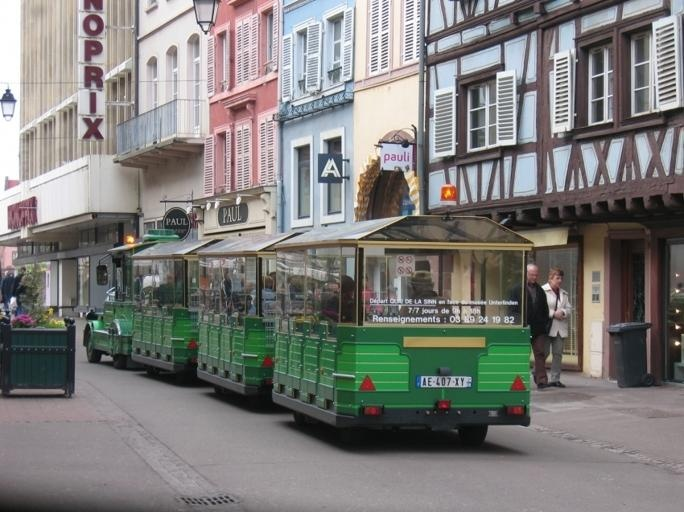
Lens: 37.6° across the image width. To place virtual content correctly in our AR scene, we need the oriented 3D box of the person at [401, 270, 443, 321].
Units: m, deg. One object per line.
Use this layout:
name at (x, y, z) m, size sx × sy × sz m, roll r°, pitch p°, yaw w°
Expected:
person at (0.969, 0.485, 13.152) m, size 0.569 × 0.944 × 0.472 m, roll 1°, pitch 4°, yaw -10°

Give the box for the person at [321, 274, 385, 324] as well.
person at (0.100, 0.803, 13.087) m, size 0.471 × 1.031 × 0.983 m, roll 2°, pitch -3°, yaw -15°

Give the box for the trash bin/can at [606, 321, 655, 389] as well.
trash bin/can at (5.325, 1.851, 18.614) m, size 0.747 × 1.164 × 0.649 m, roll 0°, pitch -4°, yaw -17°

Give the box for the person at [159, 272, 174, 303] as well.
person at (-3.518, 0.678, 20.119) m, size 0.160 × 0.645 × 0.952 m, roll 2°, pitch -5°, yaw -19°

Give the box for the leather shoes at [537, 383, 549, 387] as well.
leather shoes at (3.611, 2.352, 18.119) m, size 0.127 × 0.080 × 0.089 m, roll -4°, pitch -3°, yaw 7°

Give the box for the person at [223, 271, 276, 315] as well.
person at (-1.543, 0.615, 16.609) m, size 0.555 × 0.451 × 0.874 m, roll 1°, pitch 2°, yaw -21°

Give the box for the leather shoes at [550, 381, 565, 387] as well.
leather shoes at (3.945, 2.353, 18.449) m, size 0.274 × 0.132 × 0.110 m, roll 0°, pitch 0°, yaw 6°

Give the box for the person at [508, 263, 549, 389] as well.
person at (3.487, 1.287, 17.884) m, size 0.362 × 2.180 × 0.906 m, roll 0°, pitch -4°, yaw 14°
